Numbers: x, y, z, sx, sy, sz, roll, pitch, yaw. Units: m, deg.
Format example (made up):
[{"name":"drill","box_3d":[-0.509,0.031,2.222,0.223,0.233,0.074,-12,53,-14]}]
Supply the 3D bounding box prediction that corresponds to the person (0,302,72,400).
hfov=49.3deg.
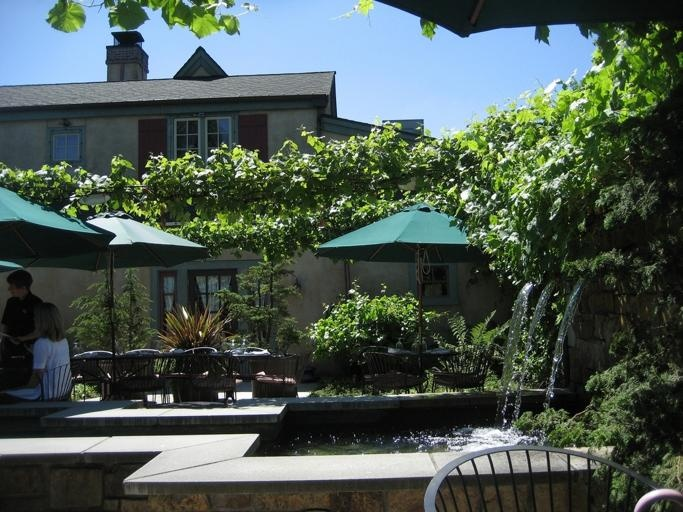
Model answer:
[{"name":"person","box_3d":[-2.941,0.931,7.310,0.550,0.920,0.242,5,-7,-23]}]

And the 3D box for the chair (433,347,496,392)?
[{"name":"chair","box_3d":[1.326,1.315,8.171,0.501,0.645,0.644,-6,4,-20]}]

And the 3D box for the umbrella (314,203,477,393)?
[{"name":"umbrella","box_3d":[1.030,0.274,9.684,1.304,1.288,1.281,-16,34,-24]}]
